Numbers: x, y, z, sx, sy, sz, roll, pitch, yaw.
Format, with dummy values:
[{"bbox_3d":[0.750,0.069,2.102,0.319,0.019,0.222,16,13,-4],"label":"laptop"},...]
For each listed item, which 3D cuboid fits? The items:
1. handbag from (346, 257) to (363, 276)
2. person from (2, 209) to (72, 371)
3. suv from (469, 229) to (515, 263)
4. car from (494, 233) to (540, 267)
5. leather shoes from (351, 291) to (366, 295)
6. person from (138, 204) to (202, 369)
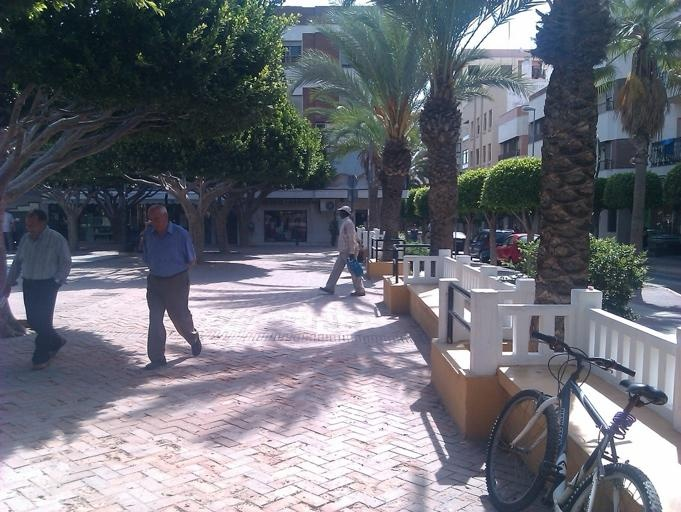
[{"bbox_3d":[0.347,0.227,14.432,0.291,0.465,0.167,-9,9,12],"label":"handbag"},{"bbox_3d":[-3.955,0.416,8.154,0.762,2.037,0.454,-1,6,-17],"label":"person"},{"bbox_3d":[7.058,-0.567,29.357,1.281,1.309,2.449,-1,9,1],"label":"suv"},{"bbox_3d":[5.223,-0.196,18.528,0.977,0.971,1.840,-2,8,-5],"label":"car"},{"bbox_3d":[0.404,0.883,14.585,0.218,0.091,0.128,0,-1,26],"label":"leather shoes"},{"bbox_3d":[-2.302,0.365,8.392,0.745,2.152,0.612,-1,6,-20],"label":"person"}]
